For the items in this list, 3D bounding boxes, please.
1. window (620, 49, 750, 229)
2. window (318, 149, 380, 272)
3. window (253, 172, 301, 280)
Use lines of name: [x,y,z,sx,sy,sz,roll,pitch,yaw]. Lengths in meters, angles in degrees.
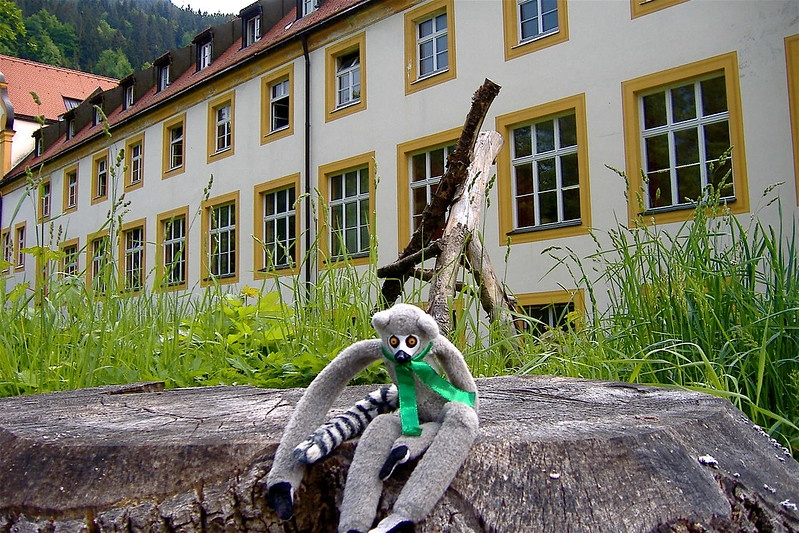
window: [3.889,-1.726,8.318,1.522,1.533,0.665,-7,-5,36]
window: [-0.798,-1.017,9.843,0.173,2.681,2.006,8,-14,-37]
window: [-2.295,-0.871,11.393,0.106,2.479,1.791,10,-18,-37]
